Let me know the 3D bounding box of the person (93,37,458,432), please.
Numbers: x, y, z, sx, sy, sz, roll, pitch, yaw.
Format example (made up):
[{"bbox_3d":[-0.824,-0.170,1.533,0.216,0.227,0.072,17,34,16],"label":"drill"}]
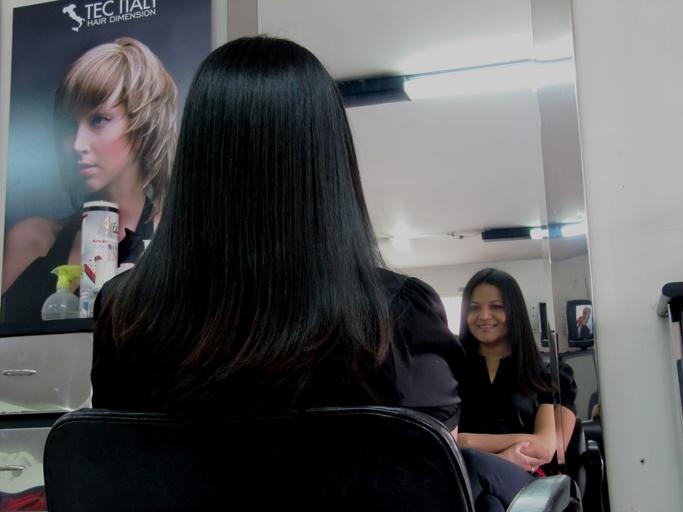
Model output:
[{"bbox_3d":[-0.158,-0.060,1.067,0.684,0.723,0.350,-2,-3,11],"label":"person"}]
